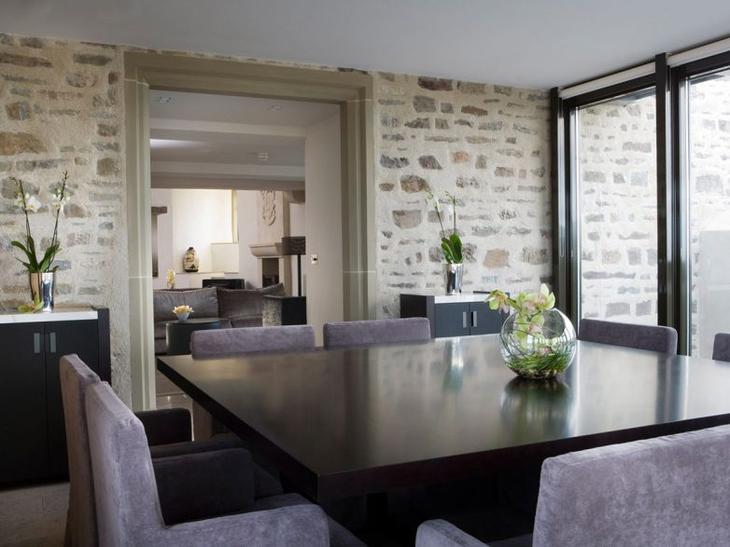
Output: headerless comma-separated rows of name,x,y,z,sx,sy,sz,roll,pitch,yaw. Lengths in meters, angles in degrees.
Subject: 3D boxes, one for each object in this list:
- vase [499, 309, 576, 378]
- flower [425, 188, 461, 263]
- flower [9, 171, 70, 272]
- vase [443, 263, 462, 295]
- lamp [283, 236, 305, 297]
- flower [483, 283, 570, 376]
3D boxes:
vase,0.595,0.211,1.848,0.228,0.222,0.233,0,-2,18
flower,0.729,-0.441,4.975,0.308,0.708,0.739,-2,2,10
flower,-2.291,-0.379,3.828,0.396,0.592,0.516,-4,3,-28
vase,0.785,0.042,4.807,0.152,0.276,0.100,-3,3,5
lamp,-1.388,-0.148,10.676,0.432,1.160,0.646,-3,3,-3
flower,0.594,0.209,2.053,0.305,0.412,0.299,2,-6,-27
